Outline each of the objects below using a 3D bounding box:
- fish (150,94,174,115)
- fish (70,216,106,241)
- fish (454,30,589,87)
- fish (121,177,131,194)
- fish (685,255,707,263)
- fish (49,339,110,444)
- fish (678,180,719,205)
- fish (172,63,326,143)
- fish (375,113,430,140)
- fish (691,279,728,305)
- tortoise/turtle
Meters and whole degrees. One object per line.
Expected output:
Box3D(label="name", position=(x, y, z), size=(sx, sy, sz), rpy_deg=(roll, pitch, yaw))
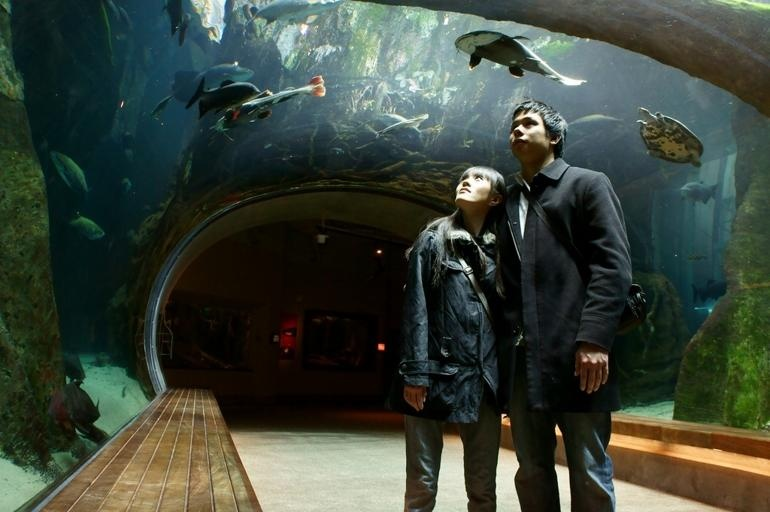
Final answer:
Box3D(label="fish", position=(-3.098, -2.106, 7.338), size=(0.348, 0.229, 0.117), rpy_deg=(-2, -7, 26))
Box3D(label="fish", position=(-4.128, -0.389, 7.362), size=(0.142, 0.327, 0.539), rpy_deg=(0, -6, 12))
Box3D(label="fish", position=(2.034, -2.940, 7.748), size=(1.898, 0.478, 0.820), rpy_deg=(20, -16, -25))
Box3D(label="fish", position=(-3.748, -1.031, 7.689), size=(0.092, 0.197, 0.194), rpy_deg=(1, -6, -3))
Box3D(label="fish", position=(6.758, 0.050, 11.515), size=(0.330, 0.097, 0.118), rpy_deg=(8, -29, -32))
Box3D(label="fish", position=(-4.595, 2.046, 7.896), size=(0.907, 1.708, 0.889), rpy_deg=(4, 1, -15))
Box3D(label="fish", position=(6.435, -1.350, 10.921), size=(1.036, 0.406, 0.323), rpy_deg=(5, -7, -33))
Box3D(label="fish", position=(-2.049, -2.209, 7.672), size=(0.681, 0.726, 2.548), rpy_deg=(25, 26, 35))
Box3D(label="fish", position=(0.255, -2.214, 8.836), size=(0.549, 0.243, 0.432), rpy_deg=(-10, 28, -17))
Box3D(label="fish", position=(7.031, 0.767, 11.493), size=(0.939, 0.486, 0.265), rpy_deg=(-12, 16, -11))
Box3D(label="tortoise/turtle", position=(5.274, -2.146, 9.762), size=(1.235, 1.269, 0.870), rpy_deg=(5, 11, 29))
